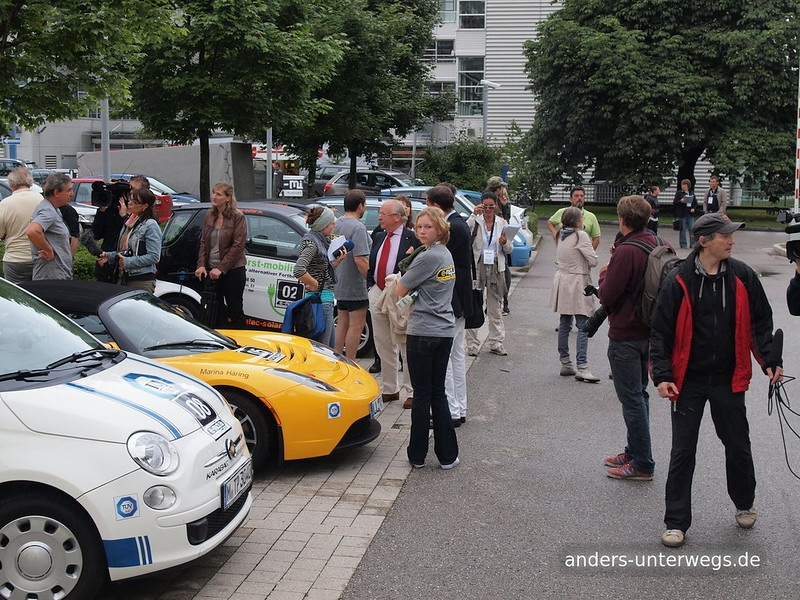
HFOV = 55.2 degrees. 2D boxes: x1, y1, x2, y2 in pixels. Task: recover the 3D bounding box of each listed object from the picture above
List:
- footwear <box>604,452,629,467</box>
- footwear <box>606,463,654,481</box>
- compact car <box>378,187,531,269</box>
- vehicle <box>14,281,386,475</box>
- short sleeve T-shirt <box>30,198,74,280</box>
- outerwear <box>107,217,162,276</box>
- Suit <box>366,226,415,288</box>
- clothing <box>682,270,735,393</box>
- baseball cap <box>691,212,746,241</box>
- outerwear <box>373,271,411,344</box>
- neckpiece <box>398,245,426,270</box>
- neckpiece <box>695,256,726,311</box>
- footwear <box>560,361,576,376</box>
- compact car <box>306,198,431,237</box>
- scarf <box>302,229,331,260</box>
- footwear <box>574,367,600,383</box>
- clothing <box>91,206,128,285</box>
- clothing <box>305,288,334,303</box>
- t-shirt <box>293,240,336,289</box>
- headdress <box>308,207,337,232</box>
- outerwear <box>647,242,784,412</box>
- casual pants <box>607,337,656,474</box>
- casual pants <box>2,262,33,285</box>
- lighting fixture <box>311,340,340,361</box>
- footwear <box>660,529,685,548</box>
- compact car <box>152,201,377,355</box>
[{"bbox_3d":[1.947,1.430,6.796,0.235,0.105,0.092,1,0,28],"label":"footwear"},{"bbox_3d":[1.974,1.495,6.562,0.390,0.174,0.154,5,0,3],"label":"footwear"},{"bbox_3d":[1.218,-1.347,17.503,3.641,1.967,2.153,-1,9,2],"label":"compact car"},{"bbox_3d":[-1.620,0.544,6.596,2.694,0.910,1.551,8,7,-1],"label":"vehicle"},{"bbox_3d":[-4.041,-0.679,8.811,0.472,1.029,0.817,0,9,-16],"label":"short sleeve T-shirt"},{"bbox_3d":[-3.039,-0.604,9.002,0.555,0.901,0.838,3,0,-37],"label":"outerwear"},{"bbox_3d":[-0.083,-0.445,8.147,0.473,0.567,0.288,23,3,21],"label":"Suit"},{"bbox_3d":[2.224,0.196,5.388,0.379,0.775,0.181,3,0,13],"label":"clothing"},{"bbox_3d":[2.312,-0.498,5.526,0.309,0.163,0.228,-6,11,22],"label":"baseball cap"},{"bbox_3d":[-0.022,-0.029,8.311,0.381,0.531,0.200,-8,40,2],"label":"outerwear"},{"bbox_3d":[0.117,-0.362,6.825,0.184,0.240,0.081,19,9,-38],"label":"neckpiece"},{"bbox_3d":[2.231,-0.125,5.461,0.306,0.363,0.331,4,9,22],"label":"neckpiece"},{"bbox_3d":[2.169,0.887,9.846,0.229,0.246,0.116,-4,9,-13],"label":"footwear"},{"bbox_3d":[-0.635,-1.564,13.345,1.927,0.797,0.958,-1,5,6],"label":"compact car"},{"bbox_3d":[-0.926,-0.657,8.668,0.345,0.117,0.275,27,13,0],"label":"scarf"},{"bbox_3d":[2.327,0.938,9.473,0.333,0.265,0.129,0,4,15],"label":"footwear"},{"bbox_3d":[-3.511,-0.698,9.409,0.428,0.988,0.312,-4,-19,-35],"label":"clothing"},{"bbox_3d":[-0.848,-0.025,8.621,0.185,0.083,0.188,-5,-10,29],"label":"clothing"},{"bbox_3d":[-0.930,-0.360,8.731,0.453,0.666,0.540,-6,12,-3],"label":"t-shirt"},{"bbox_3d":[-0.868,-0.952,8.814,0.226,0.179,0.302,-18,5,29],"label":"headdress"},{"bbox_3d":[2.304,0.151,5.578,0.822,1.117,0.581,-2,17,16],"label":"outerwear"},{"bbox_3d":[2.007,0.825,6.729,0.354,1.388,0.472,-4,7,11],"label":"casual pants"},{"bbox_3d":[-4.263,-0.300,8.531,0.283,0.306,0.180,-1,6,7],"label":"casual pants"},{"bbox_3d":[-0.720,0.504,7.432,0.262,0.079,0.162,25,1,-8],"label":"lighting fixture"},{"bbox_3d":[1.968,1.704,5.463,0.154,0.084,0.148,3,11,16],"label":"footwear"},{"bbox_3d":[-1.752,-0.412,10.844,2.871,1.743,1.676,6,8,6],"label":"compact car"}]
